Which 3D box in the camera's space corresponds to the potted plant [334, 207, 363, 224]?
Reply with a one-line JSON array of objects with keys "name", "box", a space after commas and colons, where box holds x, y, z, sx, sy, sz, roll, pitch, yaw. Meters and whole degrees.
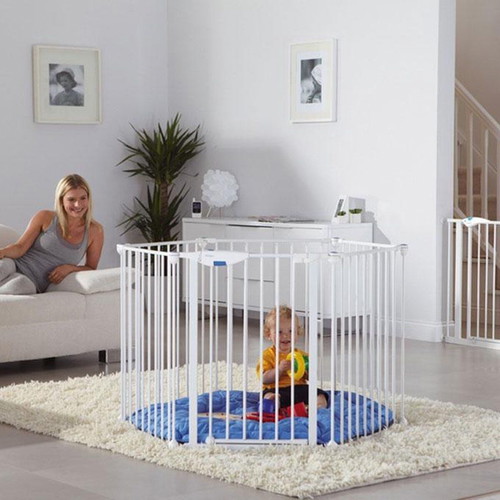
[{"name": "potted plant", "box": [0.790, -0.278, 4.935, 0.188, 0.092, 0.116, -2, 5, -7]}]

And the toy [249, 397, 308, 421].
[{"name": "toy", "box": [0.121, 0.643, 2.441, 0.145, 0.052, 0.114, 2, -5, -38]}]

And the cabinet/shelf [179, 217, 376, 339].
[{"name": "cabinet/shelf", "box": [0.318, 0.173, 4.894, 1.341, 0.734, 2.841, 1, -1, -17]}]

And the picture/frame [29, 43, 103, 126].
[{"name": "picture/frame", "box": [-1.796, -1.599, 5.920, 0.677, 0.870, 0.057, -4, 8, -32]}]

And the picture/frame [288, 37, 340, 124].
[{"name": "picture/frame", "box": [0.560, -1.449, 5.240, 0.093, 1.038, 0.658, -2, 3, -37]}]
